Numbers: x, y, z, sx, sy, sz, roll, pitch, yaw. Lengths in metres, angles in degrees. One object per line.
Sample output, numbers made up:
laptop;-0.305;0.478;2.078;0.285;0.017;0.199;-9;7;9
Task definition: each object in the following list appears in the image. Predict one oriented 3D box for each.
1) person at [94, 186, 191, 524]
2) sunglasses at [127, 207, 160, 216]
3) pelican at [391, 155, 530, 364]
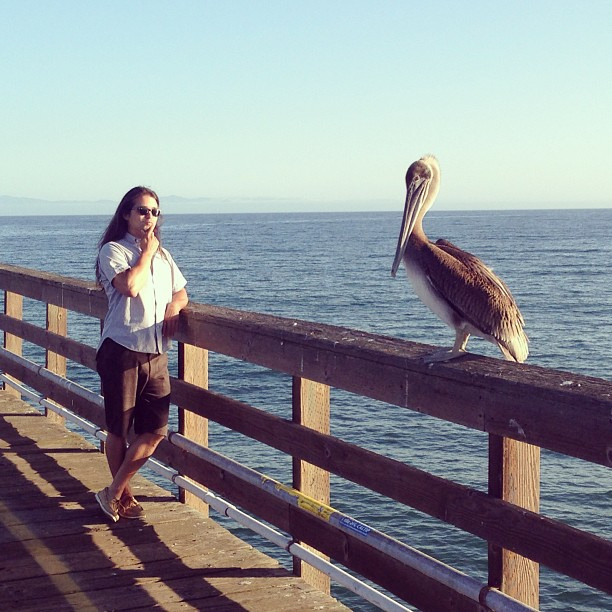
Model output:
person;-0.834;0.233;4.655;0.466;1.634;0.526;0;12;-5
sunglasses;-0.794;-0.454;4.625;0.164;0.044;0.083;1;11;-2
pelican;0.605;-0.115;4.006;0.824;1.000;0.558;5;9;6
